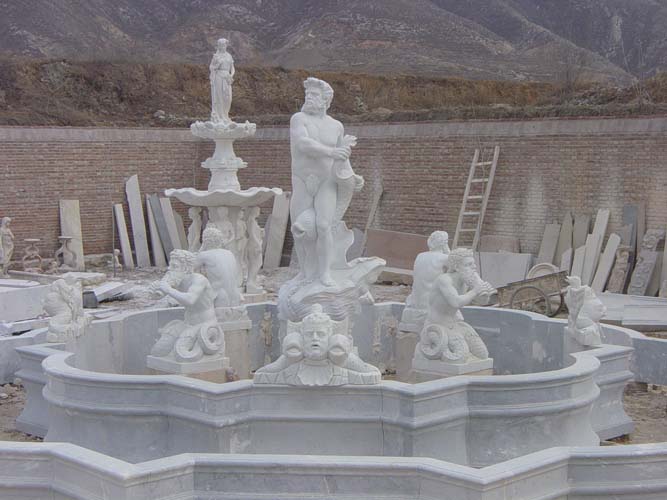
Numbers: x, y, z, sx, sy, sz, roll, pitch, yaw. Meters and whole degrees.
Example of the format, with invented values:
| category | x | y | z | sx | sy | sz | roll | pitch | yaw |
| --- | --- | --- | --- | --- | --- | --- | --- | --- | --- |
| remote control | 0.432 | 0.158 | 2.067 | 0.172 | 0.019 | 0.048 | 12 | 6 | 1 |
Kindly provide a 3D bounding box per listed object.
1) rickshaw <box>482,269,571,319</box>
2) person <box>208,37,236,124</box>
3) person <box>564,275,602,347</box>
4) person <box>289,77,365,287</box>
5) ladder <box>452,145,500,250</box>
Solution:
| category | x | y | z | sx | sy | sz | roll | pitch | yaw |
| --- | --- | --- | --- | --- | --- | --- | --- | --- | --- |
| rickshaw | 4.768 | 1.080 | 35.508 | 1.702 | 0.853 | 1.010 | 0 | 2 | 16 |
| person | -2.745 | -4.046 | 35.546 | 0.527 | 2.460 | 0.530 | 10 | 14 | 39 |
| person | 5.330 | 1.345 | 31.378 | 0.643 | 1.587 | 0.759 | 2 | 10 | 23 |
| person | -0.269 | -1.510 | 31.610 | 1.385 | 4.370 | 0.524 | -1 | 3 | -3 |
| ladder | 3.861 | -1.404 | 39.545 | 1.178 | 2.806 | 0.928 | 0 | 3 | 5 |
